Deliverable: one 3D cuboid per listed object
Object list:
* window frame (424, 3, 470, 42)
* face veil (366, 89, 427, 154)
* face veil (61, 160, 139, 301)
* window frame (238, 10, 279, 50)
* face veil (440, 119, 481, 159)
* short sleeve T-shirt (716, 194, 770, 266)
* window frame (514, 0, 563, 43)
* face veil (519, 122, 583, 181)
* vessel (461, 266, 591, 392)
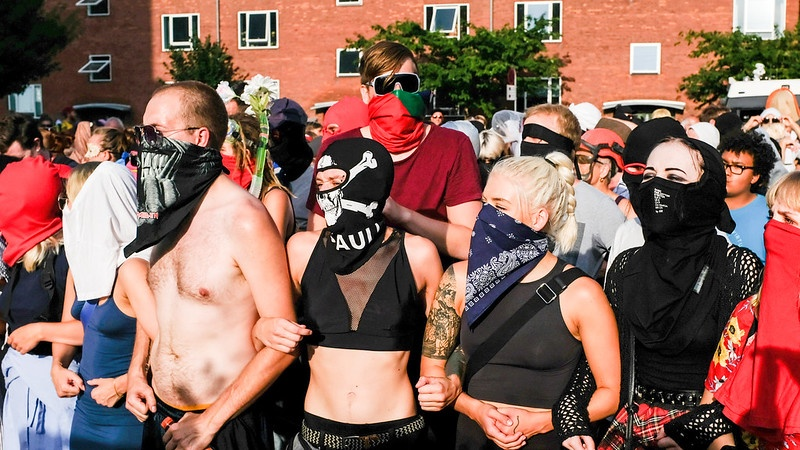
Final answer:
[{"bbox_3d":[1.917,-7.840,39.067,2.250,1.475,0.163,2,3,21],"label":"window frame"},{"bbox_3d":[-0.045,-1.375,13.917,0.782,0.531,0.864,-2,8,1],"label":"face veil"},{"bbox_3d":[-4.173,0.126,13.993,1.112,1.812,1.325,-4,-26,-36],"label":"face veil"},{"bbox_3d":[-5.772,-8.039,41.203,1.758,1.339,0.175,1,3,12],"label":"window frame"},{"bbox_3d":[1.040,-1.443,16.221,0.579,0.672,0.748,0,26,7],"label":"face veil"},{"bbox_3d":[4.855,0.119,14.119,0.472,0.769,0.843,7,-21,-45],"label":"short sleeve T-shirt"},{"bbox_3d":[5.416,-7.917,38.748,1.850,1.587,2.140,2,4,5],"label":"window frame"},{"bbox_3d":[2.295,-1.220,15.229,0.793,0.422,0.555,5,0,-24],"label":"face veil"},{"bbox_3d":[1.745,1.368,13.265,0.304,2.099,0.319,46,-1,4],"label":"vessel"}]
